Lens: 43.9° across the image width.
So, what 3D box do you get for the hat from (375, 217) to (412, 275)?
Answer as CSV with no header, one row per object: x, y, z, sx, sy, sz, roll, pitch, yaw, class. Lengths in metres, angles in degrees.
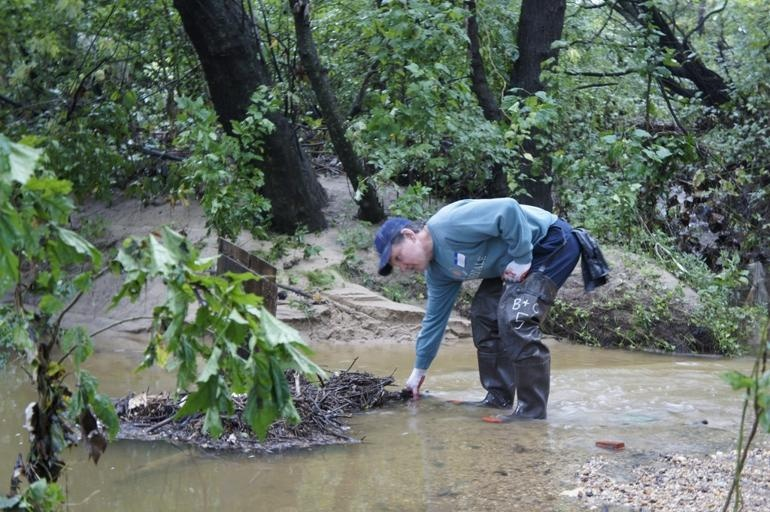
0.120,-0.120,12.132,0.428,0.767,0.617,-1,7,1,hat

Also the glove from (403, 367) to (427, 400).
0.419,1.712,12.711,0.221,0.446,0.112,24,8,21,glove
